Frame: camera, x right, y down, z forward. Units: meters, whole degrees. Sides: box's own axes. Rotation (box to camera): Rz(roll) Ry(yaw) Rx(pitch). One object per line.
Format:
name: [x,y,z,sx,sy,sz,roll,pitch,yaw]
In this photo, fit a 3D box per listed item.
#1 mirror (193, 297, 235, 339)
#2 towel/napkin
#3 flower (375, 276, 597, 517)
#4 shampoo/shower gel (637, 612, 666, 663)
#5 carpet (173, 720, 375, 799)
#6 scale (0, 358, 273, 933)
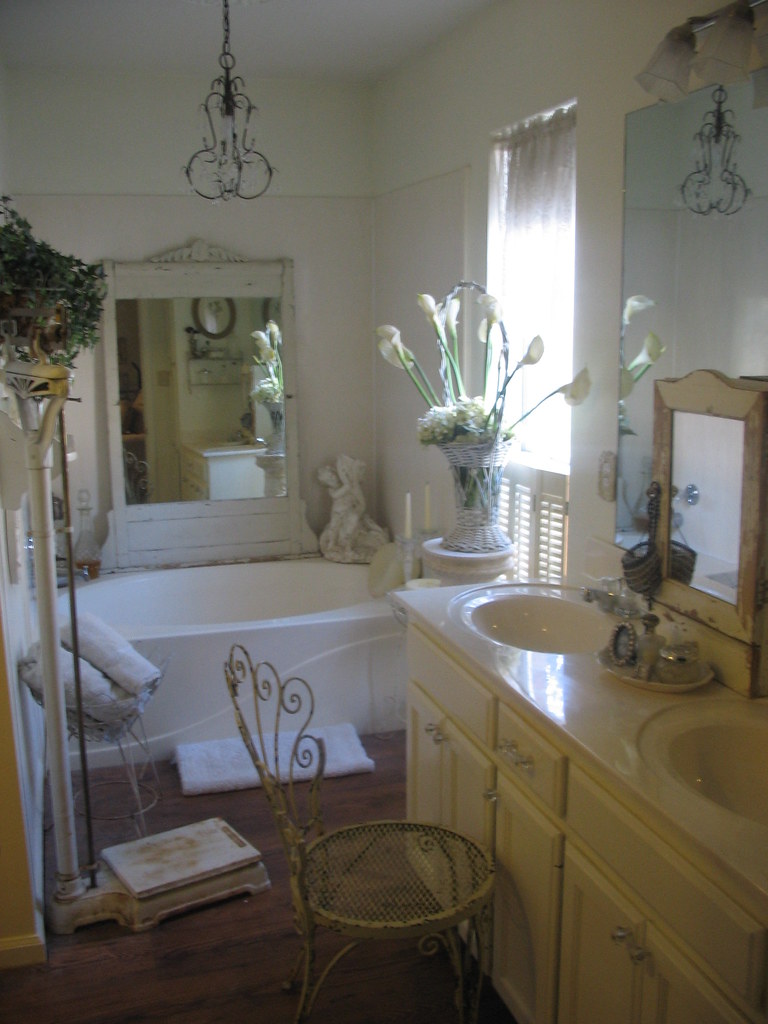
mirror: [-0.869,-0.983,4.258,0.206,0.170,0.017,-7,0,-31]
towel/napkin: [-0.817,0.467,2.524,0.293,0.107,0.293,24,1,-2]
flower: [0.274,-0.445,2.917,0.700,0.644,0.617,-10,18,-31]
shampoo/shower gel: [0.497,0.230,1.568,0.041,0.071,0.150,2,12,17]
carpet: [-0.376,0.886,2.999,0.706,0.102,0.411,-3,8,-18]
scale: [-0.664,0.334,2.199,0.537,1.450,0.377,-7,13,-24]
